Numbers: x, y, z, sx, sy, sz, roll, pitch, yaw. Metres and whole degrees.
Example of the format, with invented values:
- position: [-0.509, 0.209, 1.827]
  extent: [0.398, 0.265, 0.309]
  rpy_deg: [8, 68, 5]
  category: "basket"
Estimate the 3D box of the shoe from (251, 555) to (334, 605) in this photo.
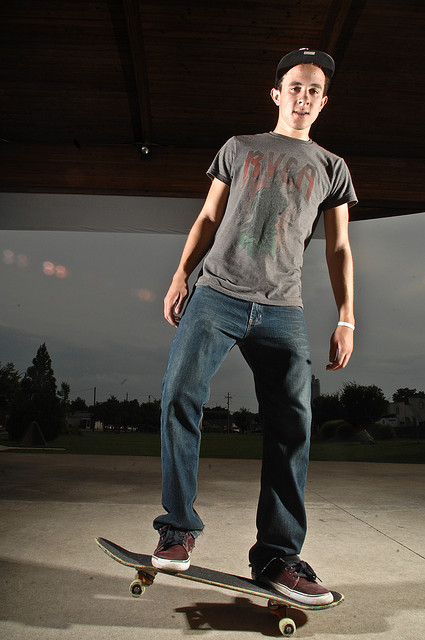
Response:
- position: [0.208, 0.697, 1.334]
  extent: [0.091, 0.102, 0.264]
  rpy_deg: [36, -30, -31]
  category: "shoe"

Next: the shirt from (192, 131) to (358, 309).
- position: [0.212, -0.320, 1.513]
  extent: [0.506, 0.574, 0.230]
  rpy_deg: [3, -5, -4]
  category: "shirt"

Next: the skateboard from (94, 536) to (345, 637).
- position: [0.012, 0.775, 1.408]
  extent: [0.657, 0.112, 0.188]
  rpy_deg: [19, -5, 4]
  category: "skateboard"

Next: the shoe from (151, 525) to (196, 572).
- position: [-0.103, 0.583, 1.258]
  extent: [0.096, 0.092, 0.116]
  rpy_deg: [2, -5, 3]
  category: "shoe"

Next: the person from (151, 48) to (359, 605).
- position: [0.159, 0.068, 1.458]
  extent: [0.618, 1.326, 0.372]
  rpy_deg: [3, -5, -6]
  category: "person"
